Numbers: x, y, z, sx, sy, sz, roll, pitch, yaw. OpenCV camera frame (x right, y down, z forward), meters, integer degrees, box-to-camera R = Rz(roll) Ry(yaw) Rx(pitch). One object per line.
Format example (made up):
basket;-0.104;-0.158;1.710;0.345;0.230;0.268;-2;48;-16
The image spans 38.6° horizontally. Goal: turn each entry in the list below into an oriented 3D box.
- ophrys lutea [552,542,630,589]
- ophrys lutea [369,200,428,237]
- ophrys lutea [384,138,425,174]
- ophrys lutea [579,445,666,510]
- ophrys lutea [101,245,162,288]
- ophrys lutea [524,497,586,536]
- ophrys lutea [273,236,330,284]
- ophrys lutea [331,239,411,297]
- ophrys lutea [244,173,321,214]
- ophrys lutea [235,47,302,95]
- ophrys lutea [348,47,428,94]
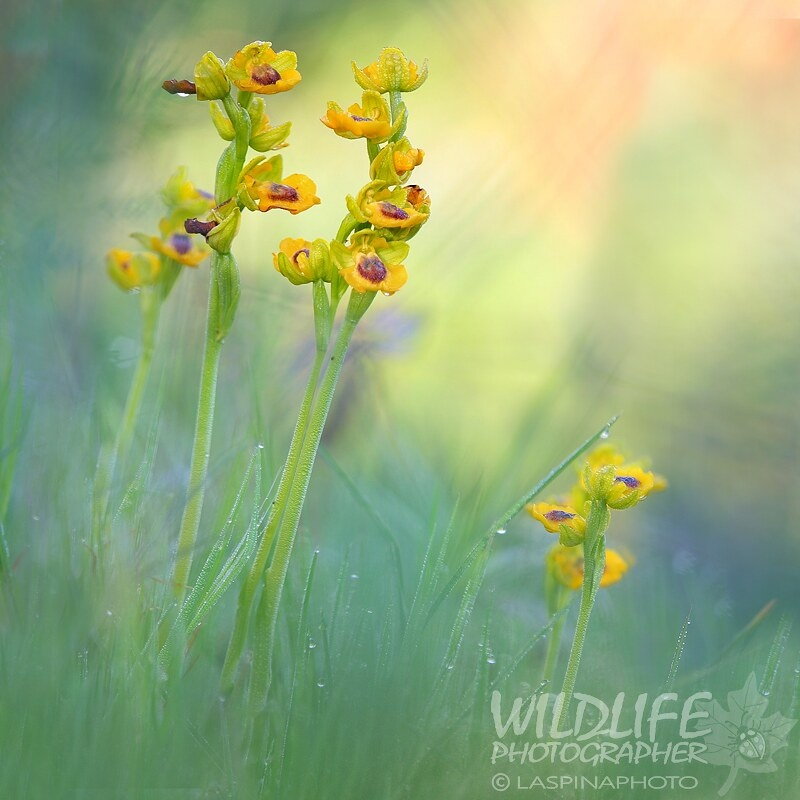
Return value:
ophrys lutea;0.169;0.138;0.989;0.046;0.022;0.048;19;40;18
ophrys lutea;-0.001;-0.134;0.838;0.029;0.014;0.029;11;56;-4
ophrys lutea;0.002;-0.180;0.842;0.022;0.015;0.028;27;52;5
ophrys lutea;0.172;0.057;0.891;0.028;0.054;0.060;-41;13;-28
ophrys lutea;-0.222;-0.107;0.947;0.052;0.036;0.019;2;15;23
ophrys lutea;0.121;0.093;0.884;0.033;0.017;0.056;-14;20;-25
ophrys lutea;-0.072;-0.104;0.854;0.044;0.035;0.034;-7;16;-7
ophrys lutea;-0.021;-0.099;0.832;0.056;0.040;0.030;-6;15;-4
ophrys lutea;-0.088;-0.158;0.866;0.053;0.027;0.035;-8;17;-10
ophrys lutea;-0.103;-0.253;0.867;0.052;0.036;0.028;-7;15;-7
ophrys lutea;0.000;-0.243;0.870;0.041;0.029;0.037;-5;-10;34
